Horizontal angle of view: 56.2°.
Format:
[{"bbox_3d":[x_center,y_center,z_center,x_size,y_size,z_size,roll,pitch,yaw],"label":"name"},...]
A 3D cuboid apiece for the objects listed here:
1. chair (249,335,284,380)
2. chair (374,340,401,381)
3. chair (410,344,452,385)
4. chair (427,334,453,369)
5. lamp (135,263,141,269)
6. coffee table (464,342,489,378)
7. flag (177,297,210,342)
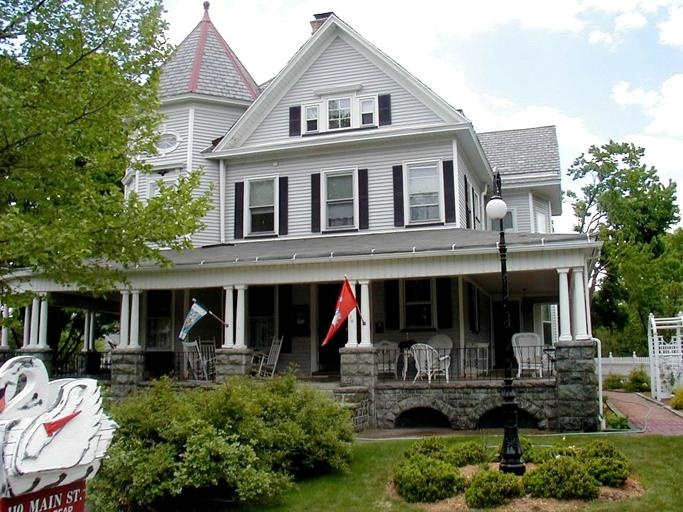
[{"bbox_3d":[-2.238,3.074,19.045,0.755,1.217,0.710,10,-12,-24],"label":"chair"},{"bbox_3d":[1.276,3.056,18.837,0.743,0.924,0.656,-3,8,1],"label":"chair"},{"bbox_3d":[2.414,2.946,17.453,0.788,1.067,0.859,2,-7,-32],"label":"chair"},{"bbox_3d":[2.815,2.493,18.193,0.648,0.828,0.595,1,-29,2],"label":"chair"},{"bbox_3d":[-5.607,0.278,17.672,0.176,0.189,0.081,-7,5,-29],"label":"lamp"},{"bbox_3d":[3.913,3.079,18.726,0.552,0.729,1.045,-2,-4,14],"label":"coffee table"},{"bbox_3d":[-4.689,2.065,20.252,0.876,1.639,0.172,32,-1,30],"label":"flag"}]
